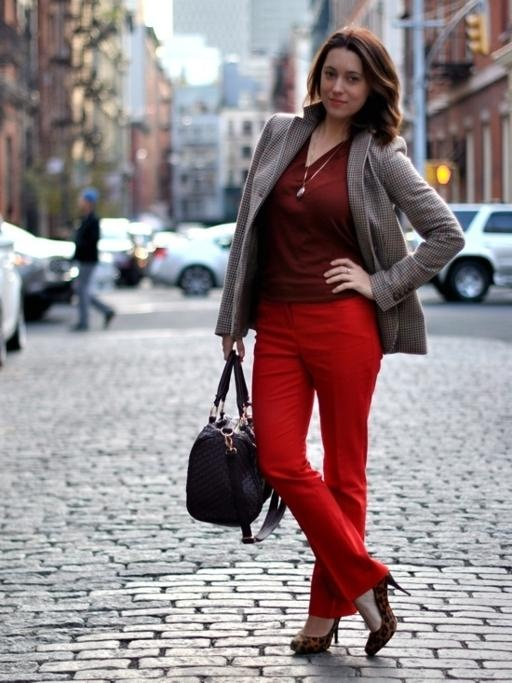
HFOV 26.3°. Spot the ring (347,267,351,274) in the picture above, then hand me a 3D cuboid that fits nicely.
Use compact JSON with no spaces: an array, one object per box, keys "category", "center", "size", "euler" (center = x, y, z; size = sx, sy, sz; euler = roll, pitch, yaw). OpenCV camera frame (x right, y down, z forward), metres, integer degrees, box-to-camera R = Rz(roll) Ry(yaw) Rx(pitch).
[{"category":"ring","center":[0.244,-0.186,2.937],"size":[0.012,0.013,0.005],"euler":[0,-1,-5]}]

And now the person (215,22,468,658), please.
[{"category":"person","center":[0.229,0.024,3.084],"size":[0.684,1.747,0.353],"euler":[-2,11,-2]}]

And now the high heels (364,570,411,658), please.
[{"category":"high heels","center":[0.358,0.782,3.150],"size":[0.112,0.242,0.078],"euler":[26,-11,-15]}]

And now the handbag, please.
[{"category":"handbag","center":[-0.089,0.376,3.222],"size":[0.268,0.324,0.358],"euler":[5,5,4]}]

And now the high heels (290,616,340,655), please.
[{"category":"high heels","center":[0.153,0.843,3.145],"size":[0.185,0.074,0.063],"euler":[2,-1,-40]}]

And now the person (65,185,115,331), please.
[{"category":"person","center":[-2.334,-1.097,15.230],"size":[0.578,1.974,0.984],"euler":[-3,10,-8]}]
